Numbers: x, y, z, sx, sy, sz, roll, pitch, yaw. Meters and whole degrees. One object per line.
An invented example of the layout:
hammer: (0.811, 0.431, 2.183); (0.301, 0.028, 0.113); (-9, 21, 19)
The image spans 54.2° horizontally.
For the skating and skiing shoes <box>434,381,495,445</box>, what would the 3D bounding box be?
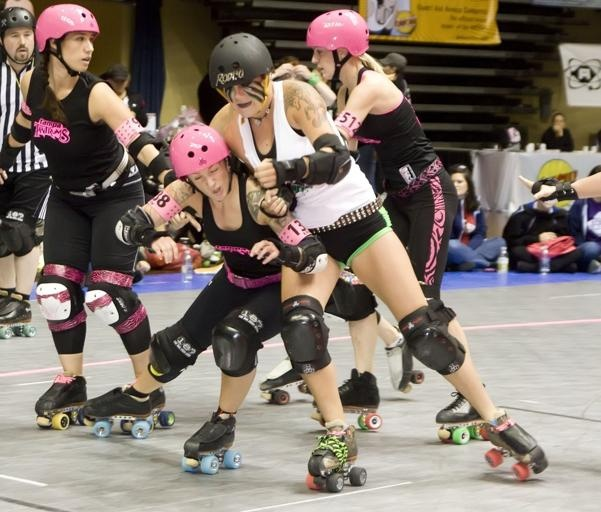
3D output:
skating and skiing shoes: (0.739, 0.738, 2.700); (0.278, 0.249, 0.093); (16, -33, -35)

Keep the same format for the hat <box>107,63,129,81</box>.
hat: (-2.388, -2.412, 7.744); (0.234, 0.250, 0.258); (15, -19, -15)

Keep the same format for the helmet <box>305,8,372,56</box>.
helmet: (0.177, -1.020, 2.720); (0.285, 0.184, 0.199); (-7, 6, 0)

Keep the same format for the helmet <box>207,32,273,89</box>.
helmet: (-0.211, -0.690, 2.043); (0.220, 0.234, 0.215); (0, 3, 0)

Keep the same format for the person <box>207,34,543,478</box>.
person: (0.209, -0.039, 2.109); (1.038, 1.499, 0.492); (-1, 3, -9)

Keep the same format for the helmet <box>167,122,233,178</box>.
helmet: (-0.347, -0.379, 2.120); (0.169, 0.158, 0.209); (-23, -3, -2)

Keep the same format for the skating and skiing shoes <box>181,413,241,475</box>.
skating and skiing shoes: (-0.323, 0.708, 2.259); (0.191, 0.218, 0.260); (-3, -6, 42)
